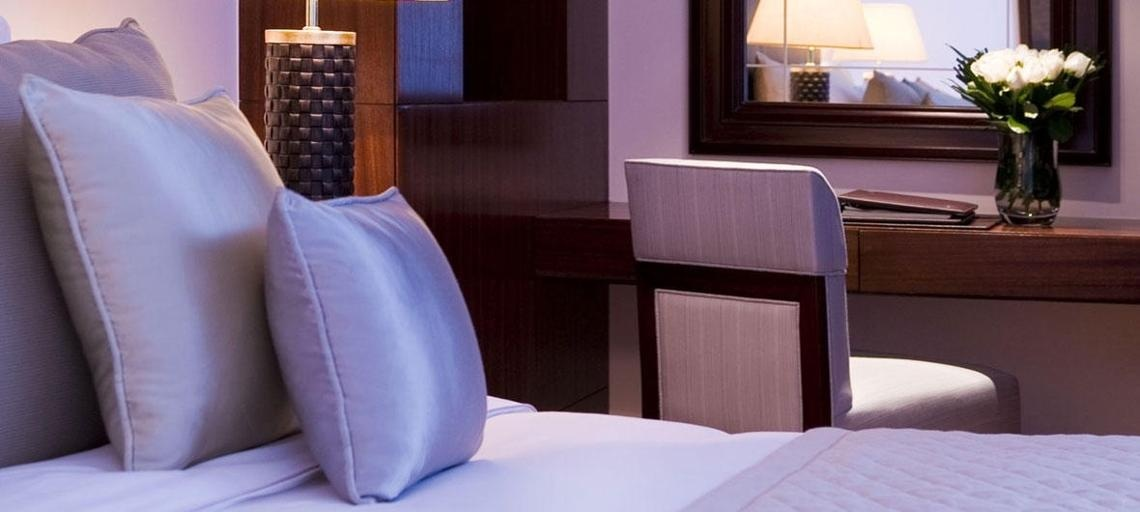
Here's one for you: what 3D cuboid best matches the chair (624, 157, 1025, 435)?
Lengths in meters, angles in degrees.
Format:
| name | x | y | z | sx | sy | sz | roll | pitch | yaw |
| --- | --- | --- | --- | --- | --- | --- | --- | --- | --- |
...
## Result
| name | x | y | z | sx | sy | sz | roll | pitch | yaw |
| --- | --- | --- | --- | --- | --- | --- | --- | --- | --- |
| chair | 1.007 | 0.363 | 3.412 | 1.285 | 1.462 | 0.885 | -6 | 9 | -43 |

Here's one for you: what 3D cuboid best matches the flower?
| name | x | y | z | sx | sy | sz | roll | pitch | yaw |
| --- | --- | --- | --- | --- | --- | --- | --- | --- | --- |
| flower | 1.944 | -0.702 | 3.512 | 0.486 | 0.253 | 0.456 | -11 | 8 | 14 |

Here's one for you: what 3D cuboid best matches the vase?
| name | x | y | z | sx | sy | sz | roll | pitch | yaw |
| --- | --- | --- | --- | --- | --- | --- | --- | --- | --- |
| vase | 2.058 | -0.340 | 3.544 | 0.310 | 0.391 | 0.294 | 0 | 12 | 27 |
